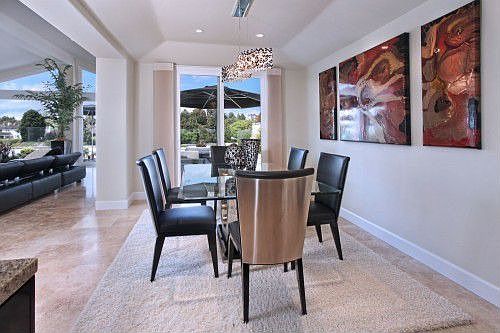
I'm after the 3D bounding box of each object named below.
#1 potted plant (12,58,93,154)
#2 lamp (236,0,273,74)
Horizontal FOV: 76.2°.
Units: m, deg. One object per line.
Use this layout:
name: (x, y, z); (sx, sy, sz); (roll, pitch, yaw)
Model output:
potted plant: (-5.890, -1.767, 9.316); (2.775, 2.990, 1.969); (2, 5, 32)
lamp: (0.066, -1.971, 4.782); (0.301, 0.880, 0.895); (-3, 7, -19)
